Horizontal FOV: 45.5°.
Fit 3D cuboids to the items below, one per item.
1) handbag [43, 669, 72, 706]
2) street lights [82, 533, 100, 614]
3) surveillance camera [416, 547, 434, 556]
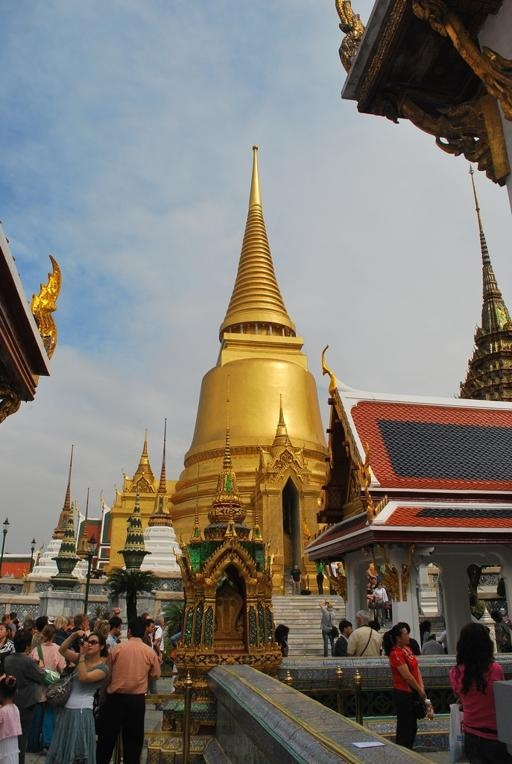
[{"bbox_3d":[-1.365,2.135,4.232,0.165,0.230,0.291,6,-23,-15],"label":"handbag"},{"bbox_3d":[-4.671,5.402,16.900,0.418,2.056,0.375,14,-23,-35],"label":"street lights"},{"bbox_3d":[2.529,2.521,9.089,0.208,0.098,0.201,-8,-35,6],"label":"surveillance camera"}]
